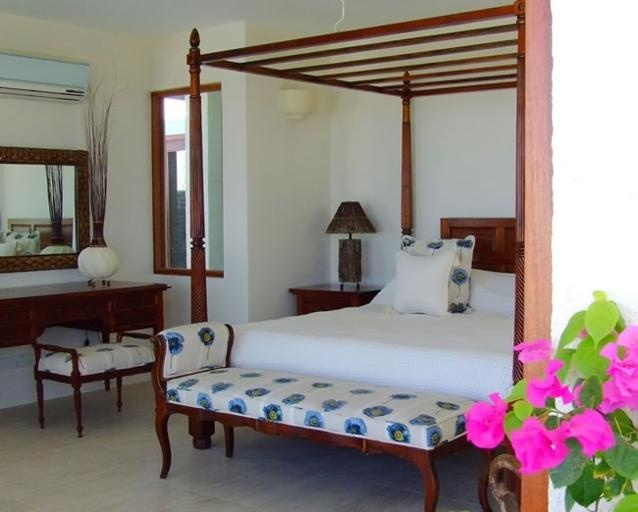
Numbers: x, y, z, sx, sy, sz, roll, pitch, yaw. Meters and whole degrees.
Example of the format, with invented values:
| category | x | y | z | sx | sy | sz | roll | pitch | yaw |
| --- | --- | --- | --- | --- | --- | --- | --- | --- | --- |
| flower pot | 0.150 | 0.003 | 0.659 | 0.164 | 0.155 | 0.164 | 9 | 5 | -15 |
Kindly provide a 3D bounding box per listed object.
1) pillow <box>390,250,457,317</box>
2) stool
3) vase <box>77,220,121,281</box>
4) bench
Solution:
| category | x | y | z | sx | sy | sz | roll | pitch | yaw |
| --- | --- | --- | --- | --- | --- | --- | --- | --- | --- |
| pillow | 0.839 | 0.233 | 4.198 | 0.193 | 0.513 | 0.522 | -9 | 9 | -42 |
| stool | -1.805 | 0.805 | 4.247 | 0.786 | 0.795 | 1.052 | 1 | 1 | 30 |
| vase | -1.977 | -0.064 | 4.743 | 0.382 | 0.599 | 0.376 | -6 | 15 | -41 |
| bench | -0.133 | 0.876 | 2.874 | 1.823 | 0.885 | 0.483 | 1 | 3 | 33 |
